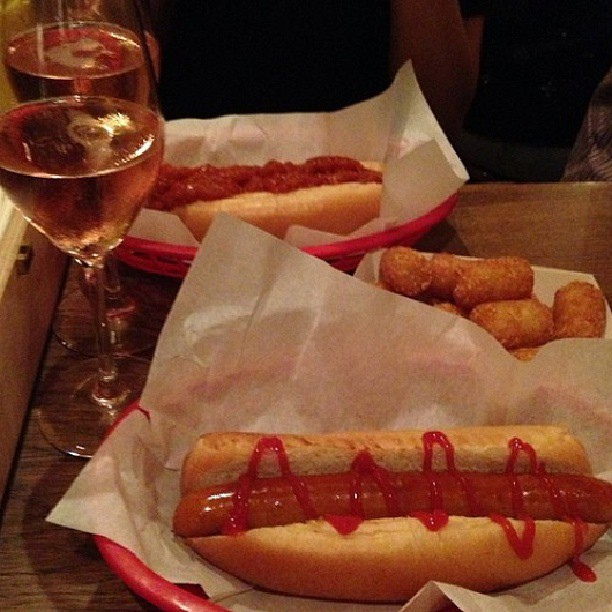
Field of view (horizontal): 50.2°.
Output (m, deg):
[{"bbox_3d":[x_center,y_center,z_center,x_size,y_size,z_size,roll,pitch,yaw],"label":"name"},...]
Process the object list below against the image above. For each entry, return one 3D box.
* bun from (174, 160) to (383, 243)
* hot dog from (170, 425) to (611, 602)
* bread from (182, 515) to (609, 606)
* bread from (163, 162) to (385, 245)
[{"bbox_3d":[-0.067,-0.348,2.222,0.582,0.307,0.122,-3,101,-4],"label":"bun"},{"bbox_3d":[0.159,0.391,1.363,0.832,0.351,0.225,2,93,-7],"label":"hot dog"},{"bbox_3d":[0.167,0.482,1.325,0.867,0.239,0.160,1,95,-10],"label":"bread"},{"bbox_3d":[0.108,-0.363,2.421,1.217,0.255,0.277,-2,82,-14],"label":"bread"}]
